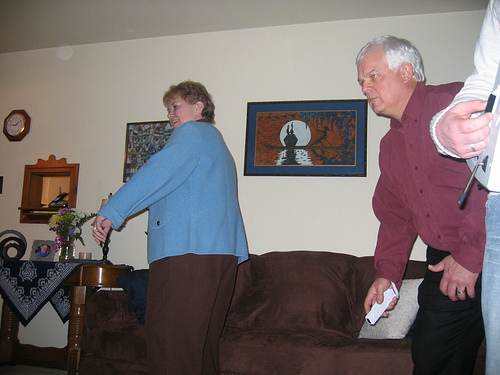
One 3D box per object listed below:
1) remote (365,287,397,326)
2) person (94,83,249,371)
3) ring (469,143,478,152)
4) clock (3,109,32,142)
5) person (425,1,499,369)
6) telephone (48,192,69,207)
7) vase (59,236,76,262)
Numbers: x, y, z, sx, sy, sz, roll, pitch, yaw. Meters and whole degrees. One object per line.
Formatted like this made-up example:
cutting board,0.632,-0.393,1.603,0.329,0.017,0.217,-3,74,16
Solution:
remote,0.625,0.558,2.031,0.076,0.262,0.063,41,-23,7
person,-0.371,0.311,2.118,0.762,1.313,0.332,1,-3,-11
ring,0.629,-0.109,1.168,0.005,0.020,0.019,-23,-45,2
clock,-2.540,-0.648,4.517,0.322,0.328,0.036,-3,-12,6
person,0.639,-0.004,1.234,0.182,1.074,0.272,-1,-3,19
telephone,-1.954,0.135,4.294,0.277,0.155,0.157,-1,-4,26
vase,-1.643,0.546,3.709,0.134,0.211,0.278,2,-4,-25
